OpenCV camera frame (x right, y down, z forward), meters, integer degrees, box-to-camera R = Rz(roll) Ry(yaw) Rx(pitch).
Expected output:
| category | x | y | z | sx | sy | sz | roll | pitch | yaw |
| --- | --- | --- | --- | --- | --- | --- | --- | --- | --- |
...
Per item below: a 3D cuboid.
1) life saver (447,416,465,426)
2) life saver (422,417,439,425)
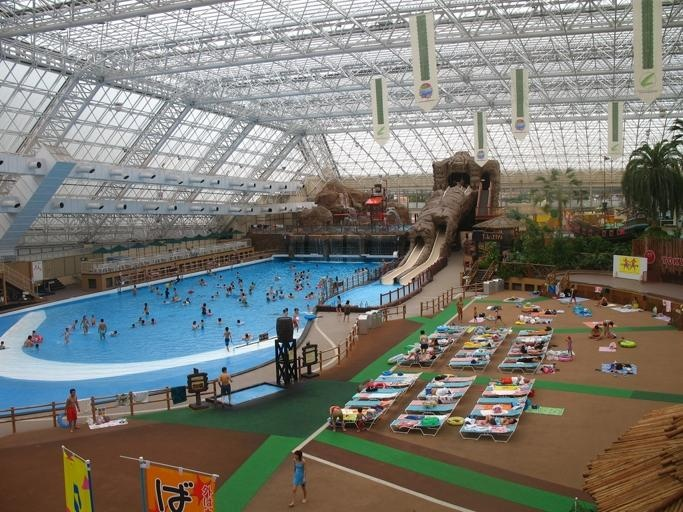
| category | x | y | z | sx | sy | sz | roll | pitch | yaw |
| --- | --- | --- | --- | --- | --- | --- | --- | --- | --- |
| life saver | 3.470 | 4.975 | 15.313 | 0.481 | 0.266 | 0.363 | -2 | 0 | 6 |
| life saver | 2.629 | 4.785 | 14.795 | 0.507 | 0.128 | 0.375 | -2 | 0 | 7 |
